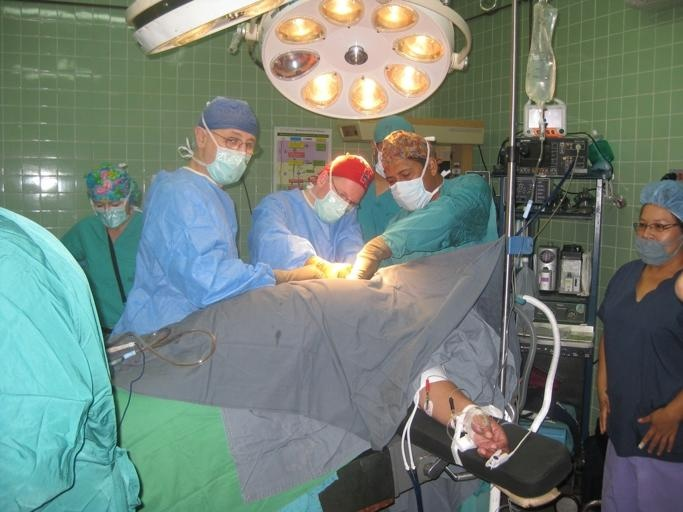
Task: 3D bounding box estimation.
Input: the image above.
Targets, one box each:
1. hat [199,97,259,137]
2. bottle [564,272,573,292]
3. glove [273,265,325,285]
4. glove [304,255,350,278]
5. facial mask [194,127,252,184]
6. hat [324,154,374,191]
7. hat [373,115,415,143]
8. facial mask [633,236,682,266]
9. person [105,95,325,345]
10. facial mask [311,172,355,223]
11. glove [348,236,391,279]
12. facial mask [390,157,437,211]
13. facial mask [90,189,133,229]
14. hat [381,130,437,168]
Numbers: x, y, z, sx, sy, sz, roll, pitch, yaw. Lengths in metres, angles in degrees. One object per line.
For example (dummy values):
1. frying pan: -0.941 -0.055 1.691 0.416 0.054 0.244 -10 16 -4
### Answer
1. hat: -0.446 -0.529 2.391 0.151 0.111 0.162 8 10 -18
2. bottle: 1.282 0.148 3.416 0.047 0.105 0.021 4 9 24
3. glove: -0.169 0.069 2.313 0.103 0.046 0.090 -2 10 -16
4. glove: -0.049 0.045 2.390 0.127 0.062 0.089 1 5 19
5. facial mask: -0.453 -0.355 2.429 0.218 0.138 0.182 38 13 20
6. hat: 0.037 -0.381 2.694 0.174 0.150 0.136 32 4 24
7. hat: 0.249 -0.609 2.858 0.109 0.112 0.165 -10 13 -19
8. facial mask: 1.364 -0.021 2.621 0.122 0.113 0.132 19 -1 -23
9. person: -0.533 -0.154 2.308 0.698 0.904 0.455 -1 9 -9
10. facial mask: -0.048 -0.246 2.741 0.145 0.108 0.185 15 36 -43
11. glove: 0.101 0.007 2.339 0.125 0.138 0.298 3 10 18
12. facial mask: 0.342 -0.318 2.680 0.127 0.213 0.165 48 -23 -28
13. facial mask: -1.191 -0.228 3.090 0.141 0.117 0.185 -2 44 -5
14. hat: 0.282 -0.455 2.591 0.168 0.163 0.127 -19 8 -12
